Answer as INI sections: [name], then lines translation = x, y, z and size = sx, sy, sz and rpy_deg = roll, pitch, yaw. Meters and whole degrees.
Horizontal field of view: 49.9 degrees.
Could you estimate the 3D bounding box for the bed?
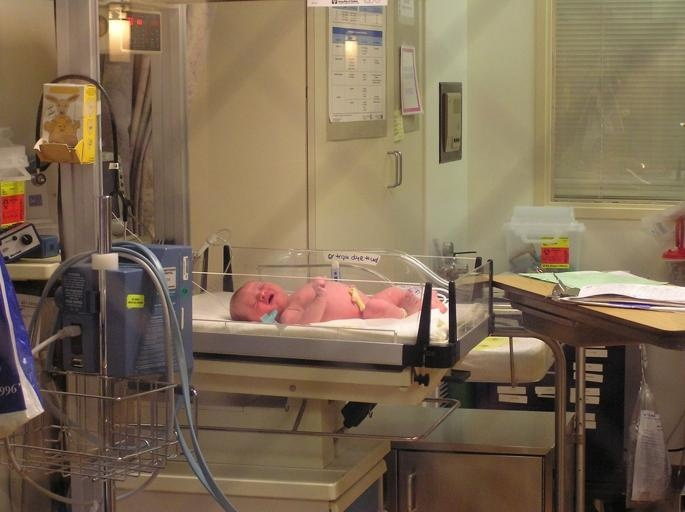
[bed]
translation = -0.002, 0.146, 2.084
size = 0.523, 0.162, 0.487
rpy_deg = 2, 10, 12
